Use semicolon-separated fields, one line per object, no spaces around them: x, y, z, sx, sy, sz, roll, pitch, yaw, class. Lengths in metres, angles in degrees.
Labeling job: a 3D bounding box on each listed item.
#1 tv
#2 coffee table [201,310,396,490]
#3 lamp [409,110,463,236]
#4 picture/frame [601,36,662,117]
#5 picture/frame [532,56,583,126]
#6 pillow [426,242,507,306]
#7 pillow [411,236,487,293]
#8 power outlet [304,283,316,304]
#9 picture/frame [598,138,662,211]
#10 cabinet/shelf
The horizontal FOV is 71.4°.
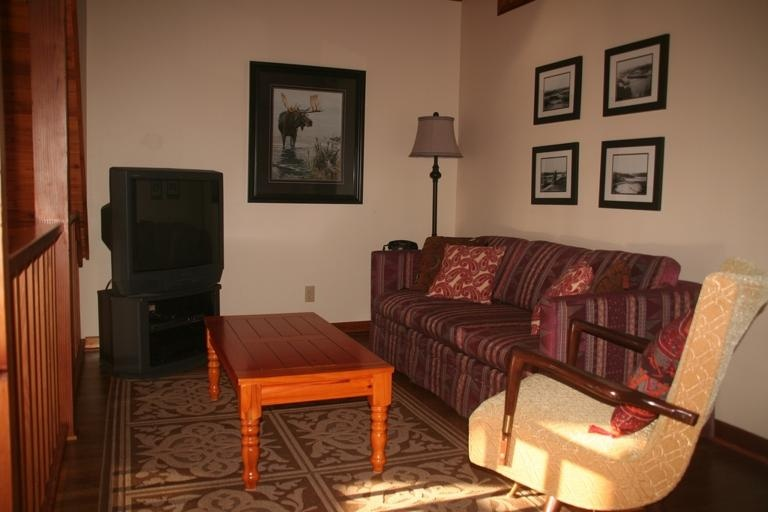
-1.612;-0.192;4.033;0.832;0.929;0.296;-4;12;-26;tv
-0.450;0.558;2.908;0.751;0.463;1.236;1;11;-21;coffee table
0.492;-0.779;5.159;0.473;1.183;0.581;2;11;4;lamp
1.741;-1.235;3.720;0.038;0.465;0.481;-11;13;-31;picture/frame
1.395;-1.327;4.309;0.034;0.487;0.507;-7;11;-27;picture/frame
0.639;0.112;4.078;0.508;0.452;0.160;10;-17;44;pillow
0.499;0.073;4.470;0.475;0.457;0.203;-3;-17;45;pillow
-0.714;0.360;5.162;0.109;0.170;0.027;-1;11;-9;power outlet
1.733;-0.575;3.727;0.041;0.553;0.539;0;5;-32;picture/frame
-1.754;0.566;4.243;0.509;0.604;0.919;4;4;27;cabinet/shelf
